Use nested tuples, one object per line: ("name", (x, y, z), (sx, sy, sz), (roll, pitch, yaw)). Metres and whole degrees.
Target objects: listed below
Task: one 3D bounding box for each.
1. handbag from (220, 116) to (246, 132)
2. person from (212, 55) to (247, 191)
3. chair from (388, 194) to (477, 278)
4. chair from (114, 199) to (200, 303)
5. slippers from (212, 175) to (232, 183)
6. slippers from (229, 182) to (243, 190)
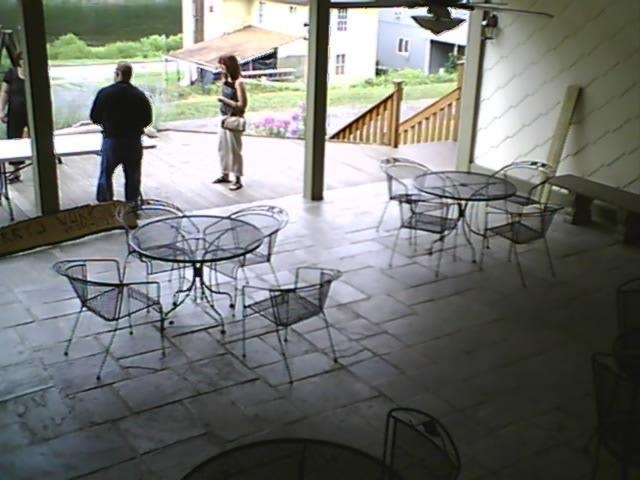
("handbag", (-1.381, -1.840, 8.392), (0.250, 0.226, 0.104), (3, 42, -10))
("person", (-1.433, -1.840, 8.389), (0.520, 2.039, 0.522), (4, 22, 4))
("chair", (1.405, -0.028, 6.694), (0.727, 0.825, 0.647), (23, 43, 31))
("chair", (-1.745, 0.144, 5.702), (0.852, 1.014, 0.753), (-13, 34, -30))
("slippers", (-1.598, -0.991, 8.681), (0.310, 0.111, 0.100), (0, 15, -13))
("slippers", (-1.349, -0.869, 8.611), (0.092, 0.098, 0.257), (4, 7, 23))
